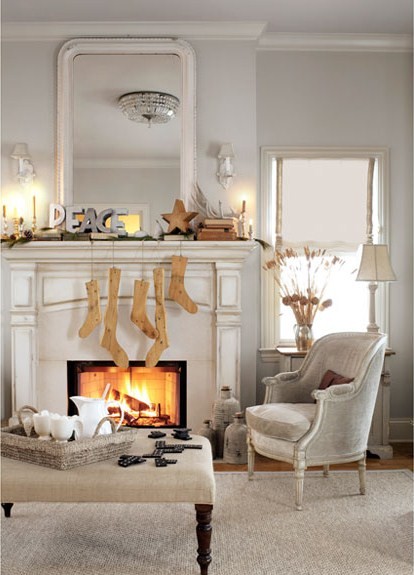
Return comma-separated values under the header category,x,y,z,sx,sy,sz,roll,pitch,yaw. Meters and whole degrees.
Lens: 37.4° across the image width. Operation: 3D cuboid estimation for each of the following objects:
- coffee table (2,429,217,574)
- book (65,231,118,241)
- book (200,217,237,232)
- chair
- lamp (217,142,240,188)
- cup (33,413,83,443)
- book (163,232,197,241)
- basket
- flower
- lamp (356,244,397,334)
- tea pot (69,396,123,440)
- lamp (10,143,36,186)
category,x,y,z,sx,sy,sz,roll,pitch,yaw
coffee table,-0.431,0.978,2.663,0.914,0.418,0.376,1,6,-4
book,-0.782,-0.349,4.141,0.357,0.056,0.074,2,6,7
book,0.088,-0.430,4.142,0.199,0.084,0.114,2,6,10
chair,0.702,0.725,3.741,0.979,1.081,0.826,4,-6,-27
lamp,0.145,-0.850,4.264,0.132,0.307,0.093,1,6,-1
cup,-0.699,0.651,2.853,0.143,0.089,0.198,1,-11,8
book,-0.181,-0.347,4.166,0.209,0.048,0.100,1,5,-5
basket,-0.715,0.710,2.778,0.388,0.129,0.328,-2,-4,33
flower,0.688,0.068,4.751,0.741,1.018,0.693,0,-2,14
lamp,1.172,-0.007,4.231,0.250,0.592,0.522,3,6,15
tea pot,-0.528,0.634,2.926,0.252,0.223,0.170,3,-13,-13
lamp,-1.276,-0.868,4.264,0.173,0.286,0.107,0,6,-6
